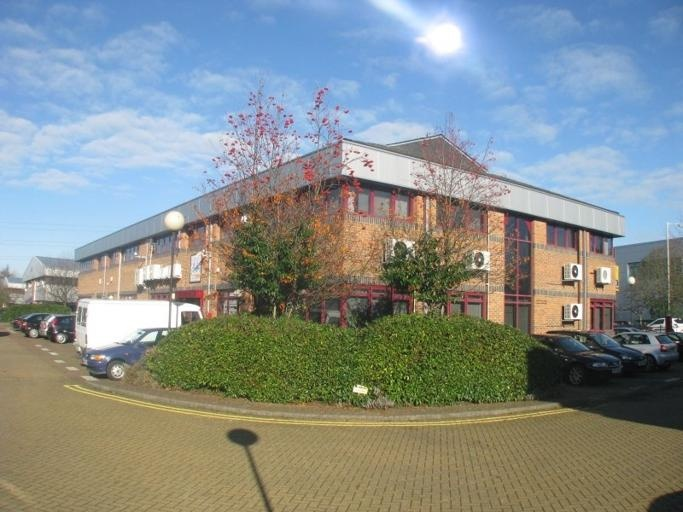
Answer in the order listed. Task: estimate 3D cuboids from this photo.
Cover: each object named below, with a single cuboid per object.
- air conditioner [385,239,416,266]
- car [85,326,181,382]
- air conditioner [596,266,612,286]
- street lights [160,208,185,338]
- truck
[{"bbox_3d":[1.950,-0.221,19.423,0.751,1.102,1.077,7,-14,-27],"label":"air conditioner"},{"bbox_3d":[-6.572,3.076,18.954,3.246,1.546,1.840,4,-8,-23],"label":"car"},{"bbox_3d":[14.205,1.148,31.706,0.872,0.868,0.454,8,-11,-44],"label":"air conditioner"},{"bbox_3d":[-5.567,0.778,19.195,0.679,4.360,0.667,5,-5,-37],"label":"street lights"},{"bbox_3d":[-7.747,2.017,23.005,5.142,2.892,2.976,0,-3,-26],"label":"truck"}]
